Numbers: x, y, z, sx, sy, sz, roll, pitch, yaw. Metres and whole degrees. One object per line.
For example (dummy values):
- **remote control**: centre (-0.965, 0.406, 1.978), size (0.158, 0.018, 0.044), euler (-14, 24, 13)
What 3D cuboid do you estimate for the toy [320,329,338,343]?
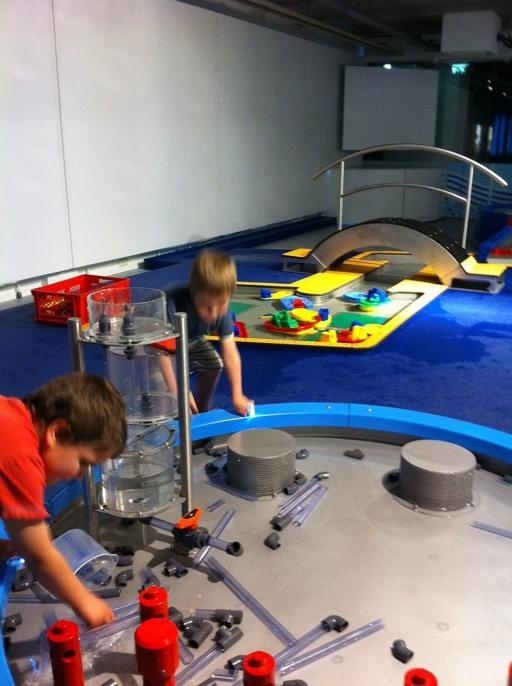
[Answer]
- **toy**: centre (0.519, -0.040, 3.791), size (0.107, 0.097, 0.104), euler (3, 18, 21)

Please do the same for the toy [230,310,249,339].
- **toy**: centre (-0.147, -0.143, 3.881), size (0.204, 0.182, 0.148), euler (1, 21, 14)

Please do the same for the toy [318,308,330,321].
- **toy**: centre (0.536, -0.227, 4.252), size (0.111, 0.098, 0.099), euler (-2, 2, 1)

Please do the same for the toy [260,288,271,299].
- **toy**: centre (0.093, -0.462, 4.944), size (0.106, 0.088, 0.101), euler (5, 27, 7)

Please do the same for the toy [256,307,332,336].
- **toy**: centre (0.359, -0.162, 4.086), size (0.271, 0.104, 0.367), euler (15, 22, 38)

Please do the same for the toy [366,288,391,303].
- **toy**: centre (1.081, -0.418, 4.752), size (0.155, 0.122, 0.369), euler (5, 16, 23)

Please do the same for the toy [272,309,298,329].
- **toy**: centre (0.206, -0.180, 4.050), size (0.185, 0.108, 0.124), euler (12, 31, 29)

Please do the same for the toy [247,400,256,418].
- **toy**: centre (-0.018, 0.235, 1.877), size (0.029, 0.041, 0.065), euler (-2, 15, 0)

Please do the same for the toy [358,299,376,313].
- **toy**: centre (0.974, -0.312, 4.572), size (0.178, 0.083, 0.151), euler (-1, 15, 2)
